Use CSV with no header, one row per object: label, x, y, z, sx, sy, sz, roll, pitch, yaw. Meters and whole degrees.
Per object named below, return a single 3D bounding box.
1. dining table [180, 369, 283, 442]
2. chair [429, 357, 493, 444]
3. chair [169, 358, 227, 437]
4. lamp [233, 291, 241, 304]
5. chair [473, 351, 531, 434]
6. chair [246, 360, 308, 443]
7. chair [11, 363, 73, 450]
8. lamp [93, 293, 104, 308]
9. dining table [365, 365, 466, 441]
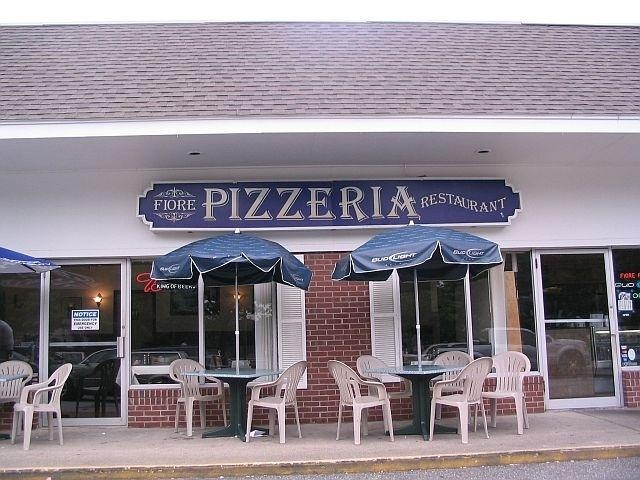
dining table,-1.364,2.745,13.060,1.377,0.978,1.320,0,-4,28
chair,2.291,2.605,12.653,1.068,1.291,1.518,-4,-11,6
chair,-2.078,2.663,13.351,1.004,1.065,0.896,-1,-9,-6
lamp,-1.488,1.040,14.118,0.170,0.208,0.357,-1,-10,-9
chair,3.031,2.479,12.763,1.023,1.146,0.935,2,-8,-21
chair,-0.751,2.713,12.981,1.038,1.278,1.330,-2,-11,-6
chair,-4.700,2.789,13.051,0.897,1.306,1.589,1,-11,-20
lamp,-4.072,1.126,14.243,0.172,0.263,0.034,-4,-12,5
dining table,1.612,2.668,12.678,1.391,1.028,1.247,0,-6,3
